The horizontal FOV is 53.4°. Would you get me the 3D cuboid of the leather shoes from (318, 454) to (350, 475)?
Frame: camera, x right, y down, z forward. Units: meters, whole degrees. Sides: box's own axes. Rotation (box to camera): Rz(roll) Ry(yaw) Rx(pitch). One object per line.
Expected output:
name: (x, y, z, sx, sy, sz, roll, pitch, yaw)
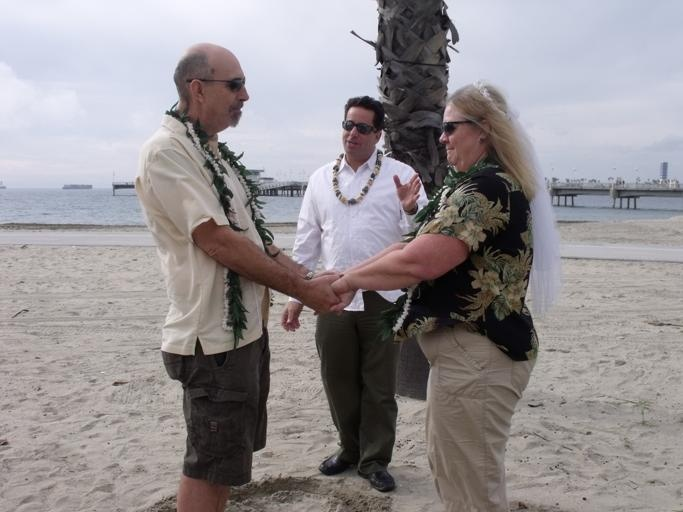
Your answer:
leather shoes: (-0.068, 1.728, 5.651, 0.275, 0.111, 0.127, 3, 8, -21)
